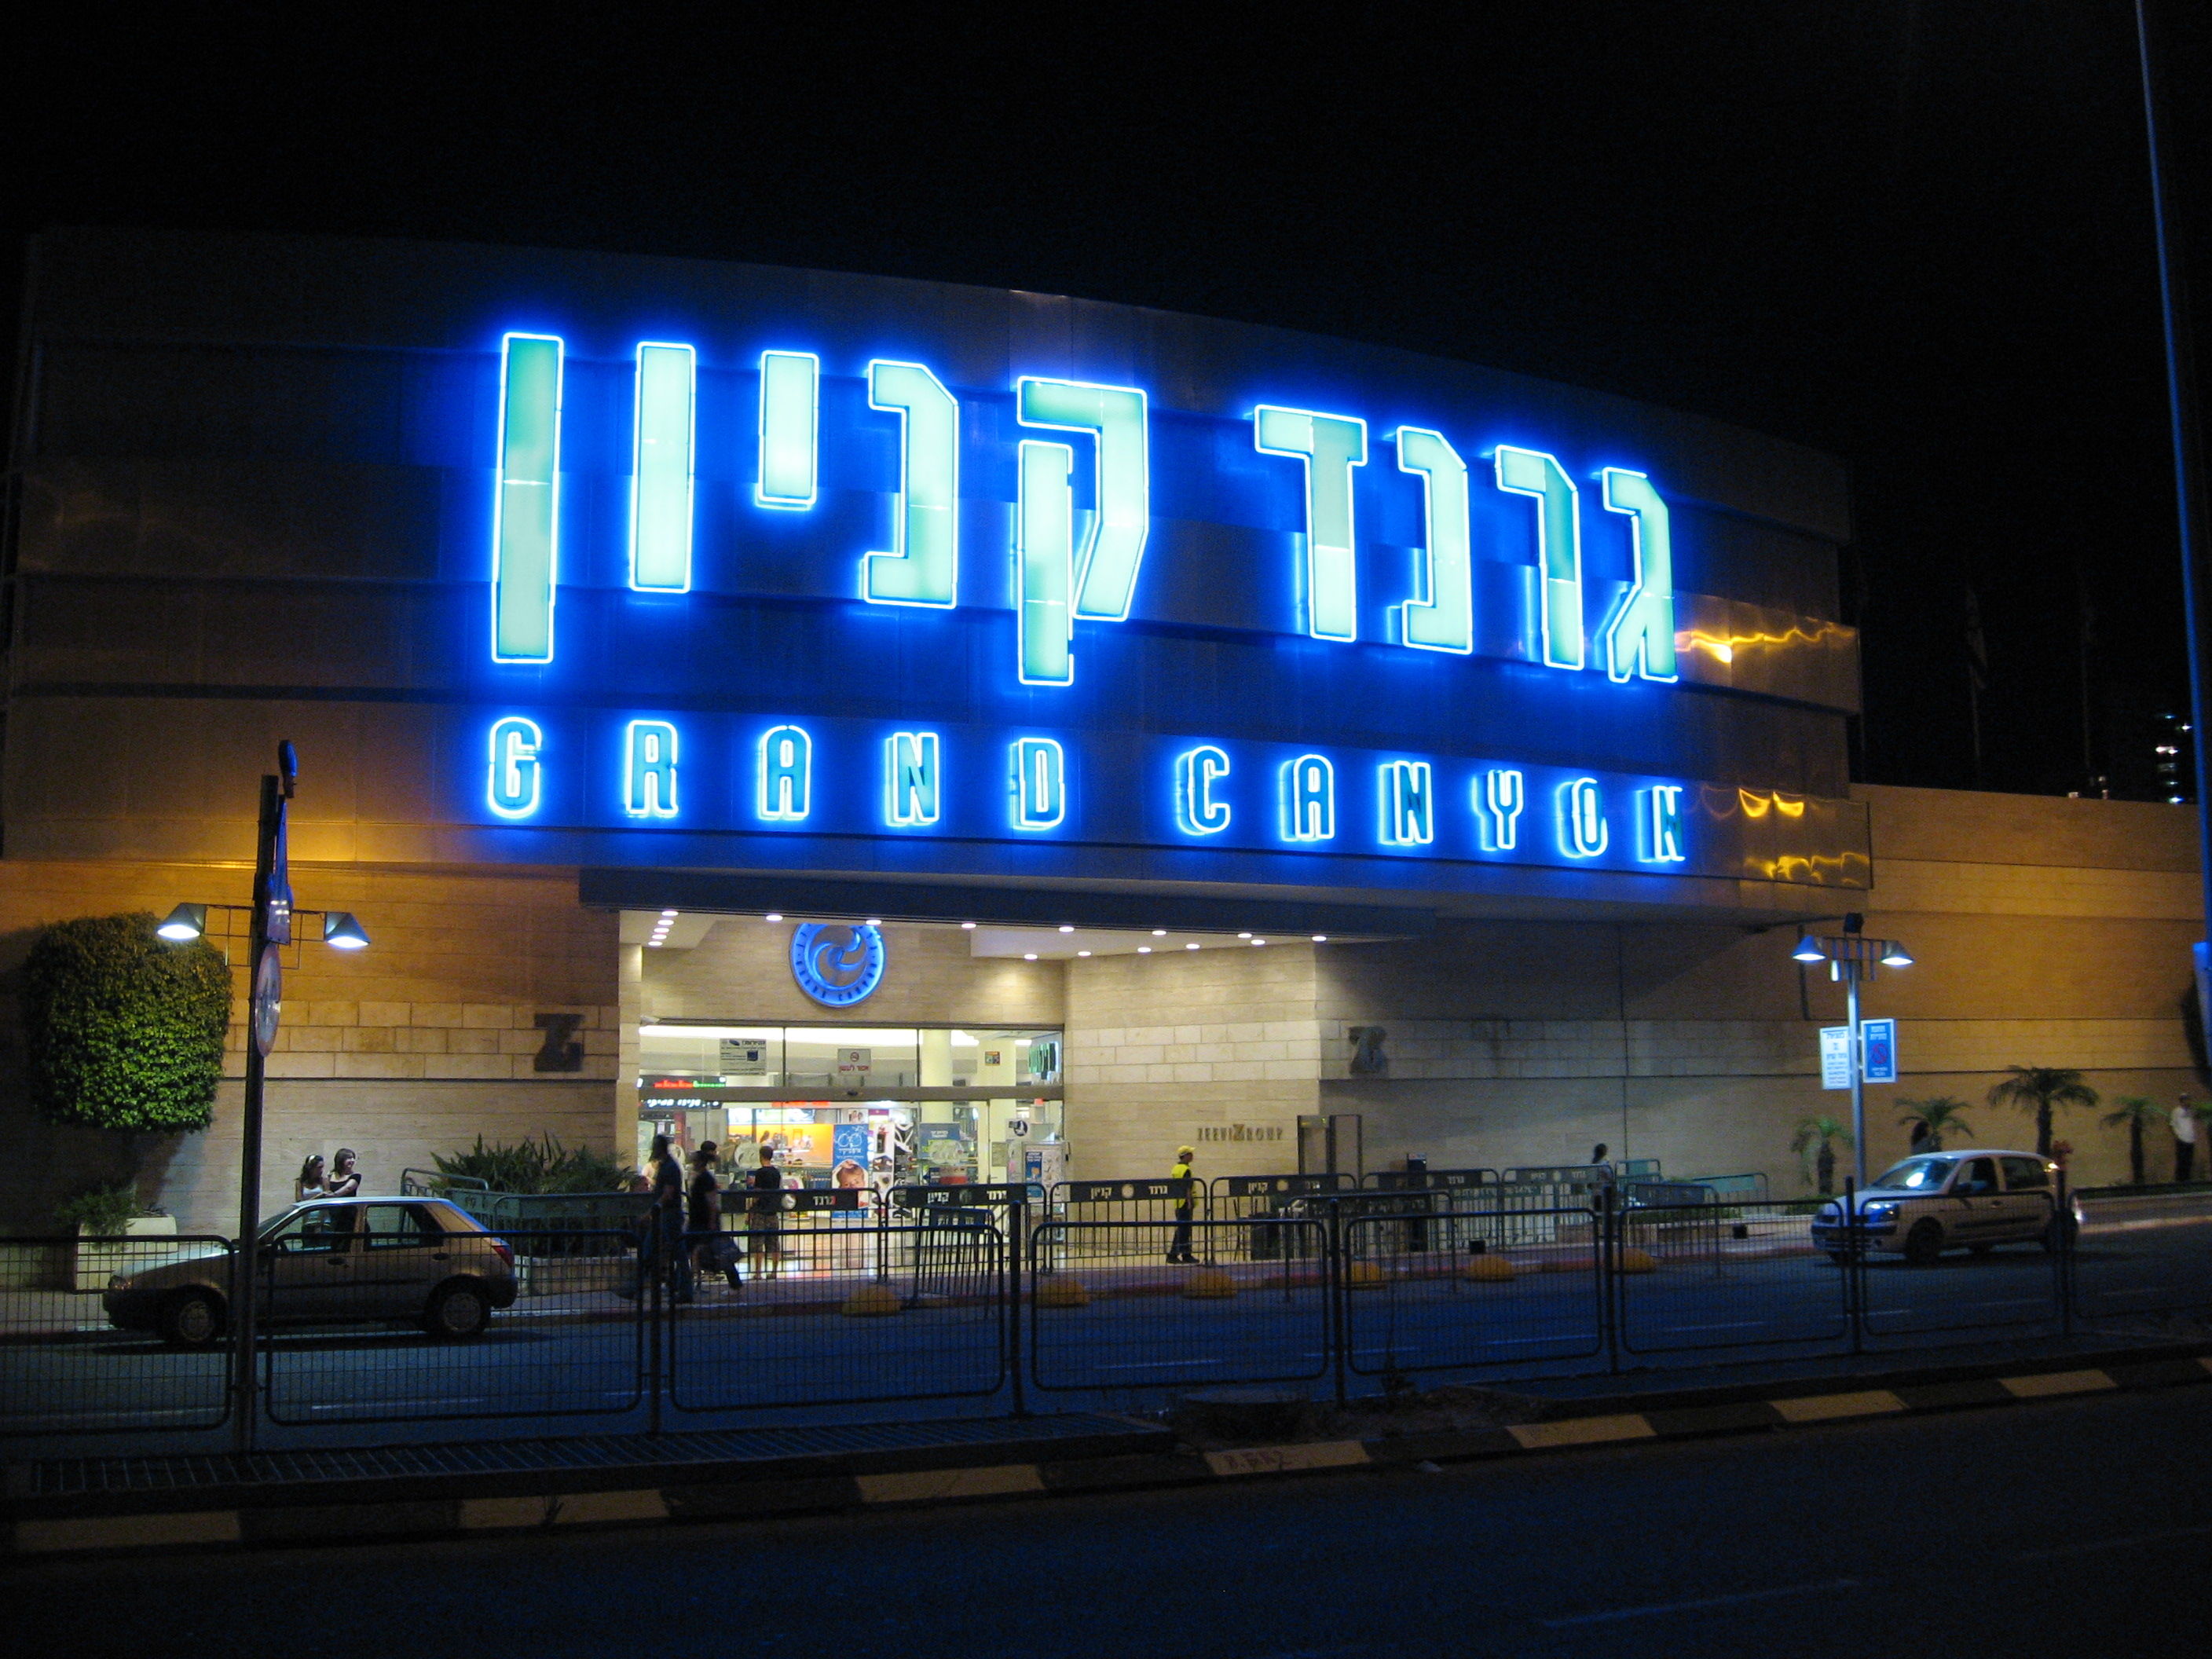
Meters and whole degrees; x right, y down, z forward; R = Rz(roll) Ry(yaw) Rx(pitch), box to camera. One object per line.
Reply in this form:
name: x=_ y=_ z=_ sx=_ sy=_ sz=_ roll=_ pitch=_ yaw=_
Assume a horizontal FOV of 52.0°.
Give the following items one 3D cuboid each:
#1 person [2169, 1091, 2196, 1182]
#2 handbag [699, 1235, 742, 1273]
person: x=27.060 y=7.816 z=56.998 sx=0.529 sy=2.105 sz=1.243 roll=-9 pitch=-11 yaw=42
handbag: x=-4.211 y=4.610 z=24.570 sx=0.437 sy=0.454 sz=0.118 roll=-3 pitch=-3 yaw=10
